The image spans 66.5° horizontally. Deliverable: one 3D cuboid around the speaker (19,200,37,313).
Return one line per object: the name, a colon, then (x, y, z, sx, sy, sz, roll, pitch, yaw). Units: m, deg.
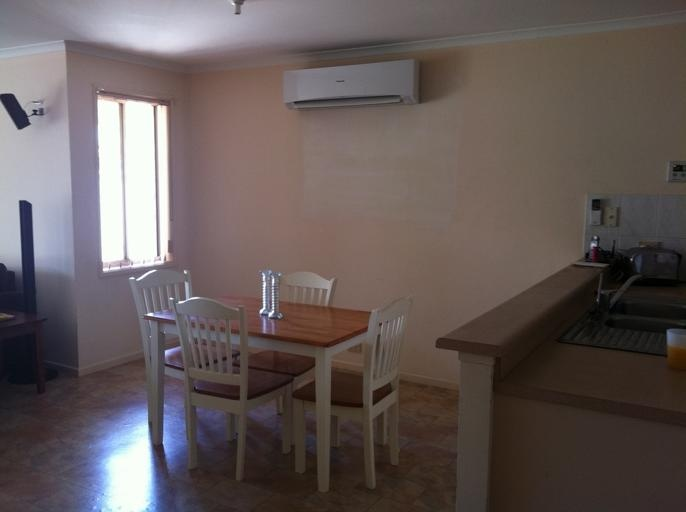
speaker: (-2.689, 0.004, 4.431, 0.139, 0.936, 0.331, -7, 13, -31)

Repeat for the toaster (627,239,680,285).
toaster: (2.126, 0.044, 3.546, 0.380, 0.228, 0.302, 0, 11, -3)
